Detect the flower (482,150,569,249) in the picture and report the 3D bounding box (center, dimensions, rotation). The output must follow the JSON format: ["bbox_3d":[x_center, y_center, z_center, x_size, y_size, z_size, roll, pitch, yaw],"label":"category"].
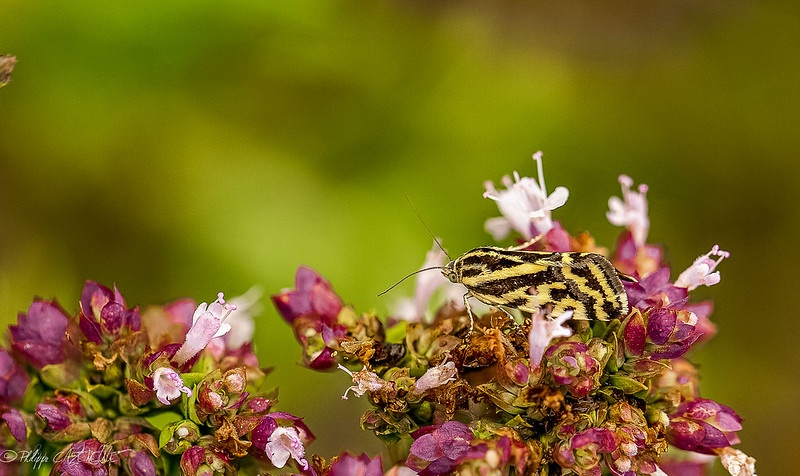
[{"bbox_3d":[0.637,-0.194,4.476,0.353,0.338,0.362,-29,-36,8],"label":"flower"}]

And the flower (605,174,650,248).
[{"bbox_3d":[1.212,-0.184,4.505,0.156,0.403,0.281,18,-37,-13],"label":"flower"}]
